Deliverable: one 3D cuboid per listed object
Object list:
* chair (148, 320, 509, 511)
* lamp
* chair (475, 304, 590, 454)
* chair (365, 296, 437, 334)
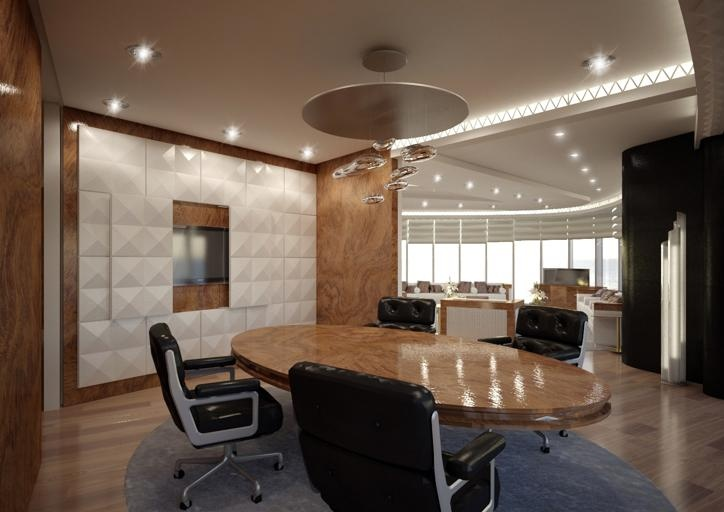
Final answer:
[{"bbox_3d":[-0.430,1.522,4.256,2.870,1.508,1.543,1,-1,9],"label":"chair"},{"bbox_3d":[0.325,-1.310,5.454,1.665,1.388,1.741,-9,3,41],"label":"lamp"},{"bbox_3d":[1.687,1.202,5.480,1.033,1.264,1.058,2,0,-26],"label":"chair"},{"bbox_3d":[0.528,0.827,6.637,0.798,0.528,0.396,3,5,19],"label":"chair"}]
